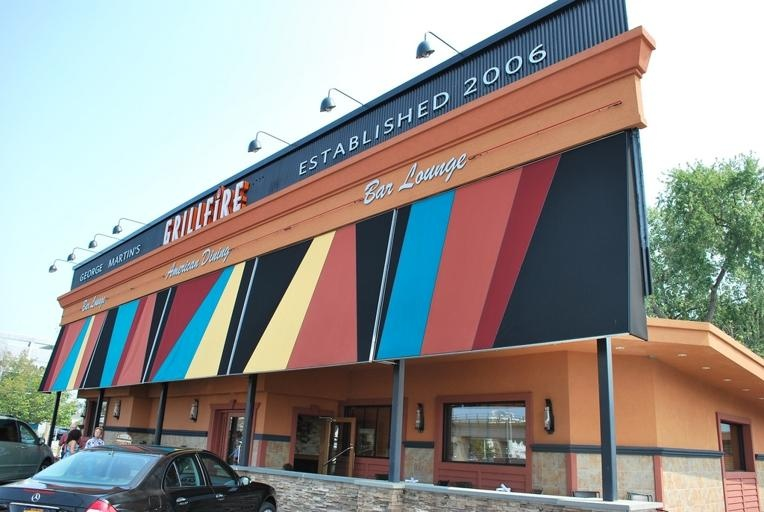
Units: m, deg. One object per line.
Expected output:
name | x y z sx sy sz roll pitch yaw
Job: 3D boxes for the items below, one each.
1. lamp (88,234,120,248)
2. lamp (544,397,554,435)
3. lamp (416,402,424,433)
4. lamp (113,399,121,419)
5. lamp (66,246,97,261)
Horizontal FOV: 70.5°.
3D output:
lamp | -8.643 -0.434 16.793 0.817 0.235 0.842 -5 -9 -33
lamp | 4.800 4.557 15.453 0.275 0.949 0.258 -3 -23 15
lamp | 1.248 5.259 17.715 0.306 0.892 0.195 -1 -23 11
lamp | -13.425 7.682 27.143 0.248 0.895 0.813 21 -28 -35
lamp | -10.942 -0.057 19.696 0.701 0.175 0.709 -22 -23 33
